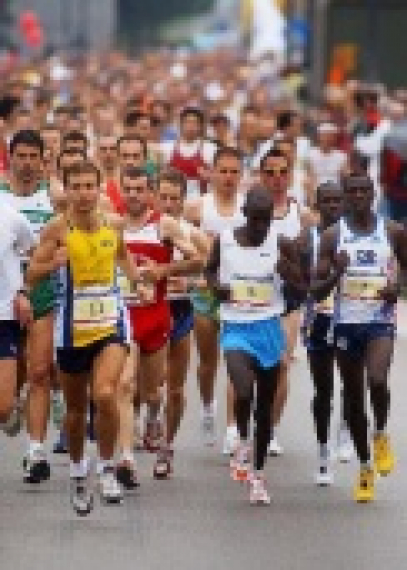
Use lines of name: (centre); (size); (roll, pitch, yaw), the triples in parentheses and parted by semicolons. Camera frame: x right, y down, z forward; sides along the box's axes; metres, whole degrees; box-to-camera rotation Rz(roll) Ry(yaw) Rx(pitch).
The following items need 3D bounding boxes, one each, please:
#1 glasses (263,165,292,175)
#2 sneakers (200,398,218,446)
glasses: (0.626, -0.981, 5.976); (0.231, 0.080, 0.106); (2, 17, 5)
sneakers: (0.054, 1.144, 5.800); (0.133, 0.365, 0.162); (-4, 6, 4)
